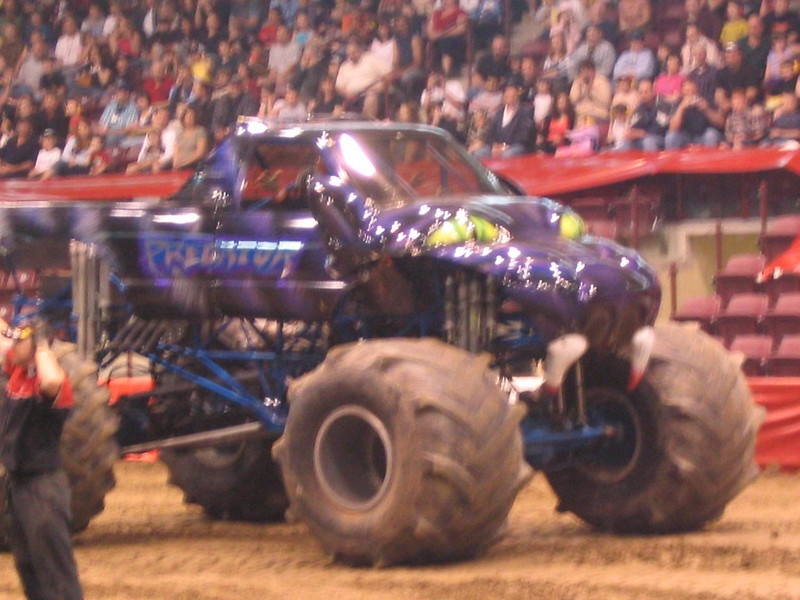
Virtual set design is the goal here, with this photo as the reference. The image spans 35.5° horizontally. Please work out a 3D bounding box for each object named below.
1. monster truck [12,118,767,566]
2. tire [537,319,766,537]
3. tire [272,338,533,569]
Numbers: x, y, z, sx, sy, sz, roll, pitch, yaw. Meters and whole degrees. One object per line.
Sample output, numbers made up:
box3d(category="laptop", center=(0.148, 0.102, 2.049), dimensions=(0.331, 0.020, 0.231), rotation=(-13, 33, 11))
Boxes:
box3d(category="monster truck", center=(-0.340, 0.221, 9.809), dimensions=(5.046, 2.980, 3.207), rotation=(0, -4, 32))
box3d(category="tire", center=(1.743, 0.976, 9.588), dimensions=(1.461, 1.656, 0.812), rotation=(12, 13, 37))
box3d(category="tire", center=(-0.173, 1.065, 8.693), dimensions=(1.415, 1.625, 0.699), rotation=(11, 5, 31))
